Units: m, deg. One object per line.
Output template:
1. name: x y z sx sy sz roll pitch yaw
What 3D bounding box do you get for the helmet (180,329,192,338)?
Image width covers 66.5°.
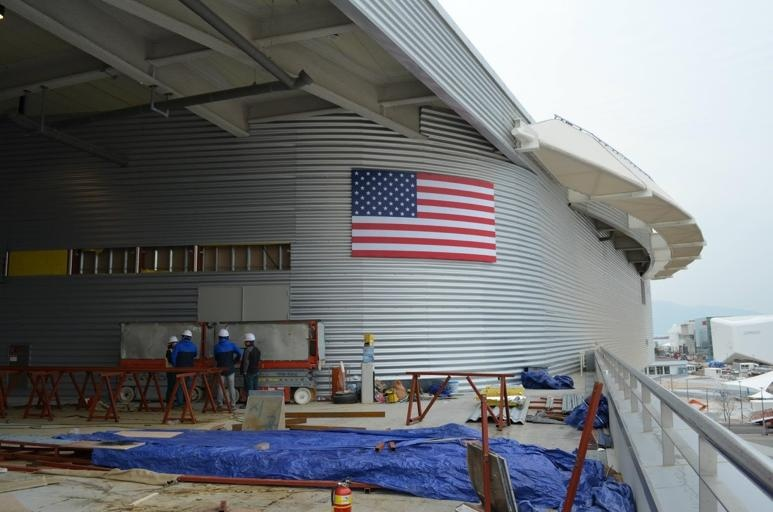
1. helmet: -5.813 2.278 17.258 0.290 0.236 0.382 24 -21 -37

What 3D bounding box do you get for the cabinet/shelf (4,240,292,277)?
1. cabinet/shelf: -7.960 0.151 19.417 9.467 0.896 0.253 -1 -10 5

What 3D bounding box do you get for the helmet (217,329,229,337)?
1. helmet: -4.774 2.236 17.230 0.283 0.170 0.355 2 -9 -4

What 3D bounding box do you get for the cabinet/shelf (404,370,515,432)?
1. cabinet/shelf: 1.772 3.548 14.676 2.650 1.130 0.987 -2 -11 17

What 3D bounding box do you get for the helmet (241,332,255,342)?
1. helmet: -4.011 2.364 17.180 0.312 0.148 0.227 3 -6 36

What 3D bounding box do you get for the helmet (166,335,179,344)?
1. helmet: -6.326 2.454 17.505 0.304 0.188 0.390 2 -6 -20
